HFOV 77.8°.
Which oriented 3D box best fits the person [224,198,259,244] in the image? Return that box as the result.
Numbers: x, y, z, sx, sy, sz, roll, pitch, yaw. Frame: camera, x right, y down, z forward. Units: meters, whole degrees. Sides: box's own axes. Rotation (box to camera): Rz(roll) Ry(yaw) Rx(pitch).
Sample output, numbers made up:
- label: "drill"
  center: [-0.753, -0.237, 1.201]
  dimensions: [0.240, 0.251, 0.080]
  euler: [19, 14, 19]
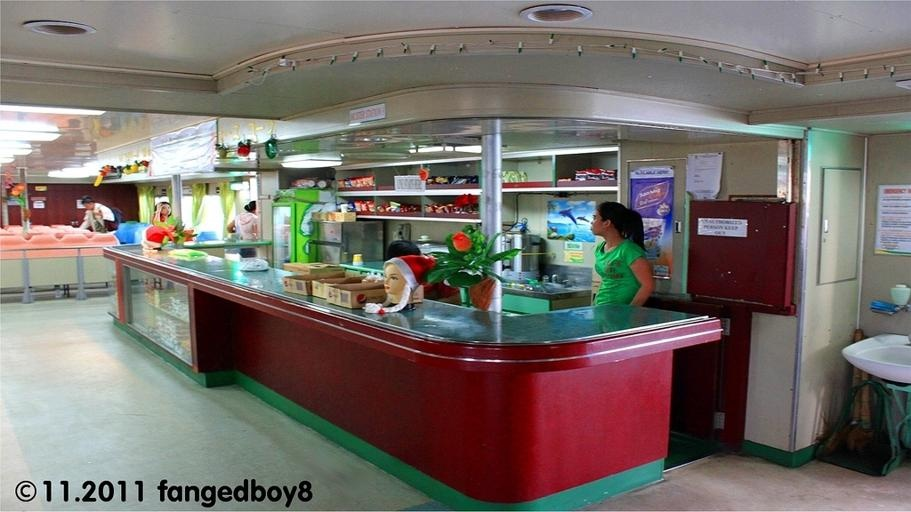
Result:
- label: "person"
  center: [-4.731, -0.827, 12.721]
  dimensions: [0.562, 0.902, 1.599]
  euler: [-5, 15, -22]

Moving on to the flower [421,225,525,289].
- label: "flower"
  center: [0.168, 0.035, 5.527]
  dimensions: [0.809, 0.316, 0.764]
  euler: [-5, 2, 30]

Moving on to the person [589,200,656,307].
- label: "person"
  center: [1.824, 0.002, 6.229]
  dimensions: [0.573, 1.146, 0.742]
  euler: [0, 15, -3]

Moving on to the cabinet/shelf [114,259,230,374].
- label: "cabinet/shelf"
  center: [-3.777, 0.848, 7.685]
  dimensions: [1.848, 0.528, 0.565]
  euler: [9, 10, 43]

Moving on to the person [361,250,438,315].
- label: "person"
  center: [-0.488, 0.249, 5.327]
  dimensions: [0.354, 0.488, 0.756]
  euler: [13, 18, 38]

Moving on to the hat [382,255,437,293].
- label: "hat"
  center: [-0.404, 0.143, 5.383]
  dimensions: [0.351, 0.271, 0.439]
  euler: [-21, -30, 24]

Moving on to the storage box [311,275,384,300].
- label: "storage box"
  center: [-1.114, 0.269, 5.596]
  dimensions: [0.448, 0.100, 0.378]
  euler: [4, 9, 26]

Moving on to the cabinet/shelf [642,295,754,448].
- label: "cabinet/shelf"
  center: [3.054, 1.417, 6.745]
  dimensions: [0.893, 1.753, 0.459]
  euler: [6, 17, 17]

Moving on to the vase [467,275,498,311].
- label: "vase"
  center: [0.278, 0.375, 5.666]
  dimensions: [0.411, 0.328, 0.351]
  euler: [-1, 7, -17]

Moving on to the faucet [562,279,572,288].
- label: "faucet"
  center: [1.578, 0.396, 8.009]
  dimensions: [0.121, 0.073, 0.178]
  euler: [-1, -4, 12]
